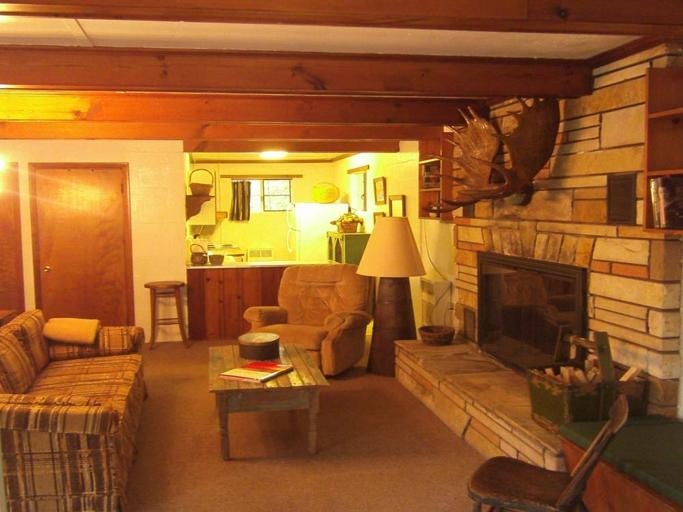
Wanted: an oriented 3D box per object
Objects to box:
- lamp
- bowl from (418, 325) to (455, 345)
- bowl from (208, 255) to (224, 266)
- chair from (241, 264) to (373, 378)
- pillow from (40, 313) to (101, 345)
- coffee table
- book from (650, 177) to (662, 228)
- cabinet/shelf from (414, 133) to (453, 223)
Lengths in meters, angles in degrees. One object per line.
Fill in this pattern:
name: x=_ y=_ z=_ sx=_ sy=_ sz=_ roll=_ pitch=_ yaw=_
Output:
lamp: x=0.469 y=0.394 z=5.546 sx=0.614 sy=1.557 sz=0.609 roll=-1 pitch=10 yaw=2
bowl: x=0.899 y=0.749 z=5.424 sx=0.310 sy=0.174 sz=0.372 roll=1 pitch=9 yaw=12
bowl: x=-1.572 y=0.054 z=7.182 sx=0.169 sy=0.093 sz=0.158 roll=0 pitch=2 yaw=0
chair: x=-0.337 y=0.646 z=5.984 sx=1.225 sy=0.970 sz=0.896 roll=1 pitch=5 yaw=30
pillow: x=-2.211 y=0.605 z=4.701 sx=0.290 sy=0.101 sz=0.279 roll=1 pitch=22 yaw=-17
coffee table: x=-0.569 y=1.089 z=4.325 sx=0.784 sy=0.571 sz=0.850 roll=-3 pitch=9 yaw=-12
book: x=1.698 y=-0.289 z=3.098 sx=0.057 sy=0.196 sz=0.225 roll=0 pitch=1 yaw=17
cabinet/shelf: x=0.934 y=-0.779 z=5.697 sx=0.343 sy=0.874 sz=1.356 roll=0 pitch=9 yaw=7
